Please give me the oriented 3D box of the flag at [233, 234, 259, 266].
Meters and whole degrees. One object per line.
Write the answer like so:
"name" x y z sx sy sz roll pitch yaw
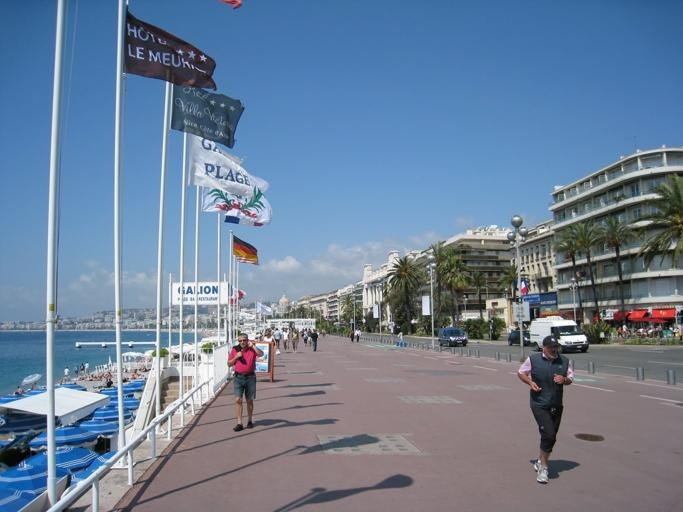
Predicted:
"flag" -4.731 -0.179 26.649 0.253 1.466 1.549 -11 -15 36

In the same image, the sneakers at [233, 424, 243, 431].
"sneakers" -2.281 3.785 12.135 0.222 0.132 0.360 0 -10 -12

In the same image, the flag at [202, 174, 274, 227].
"flag" -3.210 -1.720 16.415 2.571 1.871 0.362 6 -9 -43

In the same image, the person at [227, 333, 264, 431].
"person" -2.263 2.866 12.738 0.676 2.145 1.475 -1 -9 -9

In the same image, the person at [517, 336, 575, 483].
"person" 3.360 2.450 8.987 0.811 2.248 1.194 -5 -9 21

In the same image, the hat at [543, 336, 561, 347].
"hat" 3.323 1.379 8.809 0.182 0.156 0.265 0 -12 -1

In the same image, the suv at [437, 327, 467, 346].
"suv" 10.855 8.034 54.073 1.556 1.368 2.597 0 -13 -8
